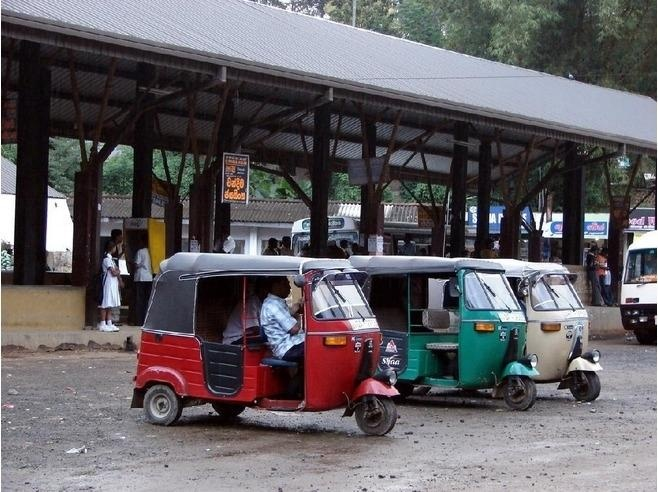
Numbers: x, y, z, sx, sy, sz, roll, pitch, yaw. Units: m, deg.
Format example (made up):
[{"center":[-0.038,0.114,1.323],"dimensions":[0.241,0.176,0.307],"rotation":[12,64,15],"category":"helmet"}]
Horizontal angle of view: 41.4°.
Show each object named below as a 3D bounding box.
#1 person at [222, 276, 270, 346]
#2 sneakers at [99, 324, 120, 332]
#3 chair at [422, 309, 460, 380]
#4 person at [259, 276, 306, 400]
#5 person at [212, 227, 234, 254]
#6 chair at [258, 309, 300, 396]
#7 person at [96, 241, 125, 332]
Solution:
[{"center":[-1.232,0.969,13.112],"dimensions":[0.689,1.140,0.730],"rotation":[3,0,-13],"category":"person"},{"center":[-4.932,1.798,19.479],"dimensions":[0.289,0.145,0.237],"rotation":[2,1,15],"category":"sneakers"},{"center":[1.912,1.544,14.216],"dimensions":[0.751,1.276,0.920],"rotation":[0,-2,-2],"category":"chair"},{"center":[-0.616,1.270,12.474],"dimensions":[0.785,1.665,0.454],"rotation":[4,7,39],"category":"person"},{"center":[-3.092,-0.177,25.261],"dimensions":[0.563,0.904,0.477],"rotation":[-7,-14,39],"category":"person"},{"center":[-0.681,1.319,12.417],"dimensions":[0.616,1.044,0.315],"rotation":[-7,-3,-22],"category":"chair"},{"center":[-4.955,0.889,19.623],"dimensions":[0.477,1.992,0.855],"rotation":[-1,5,-16],"category":"person"}]
